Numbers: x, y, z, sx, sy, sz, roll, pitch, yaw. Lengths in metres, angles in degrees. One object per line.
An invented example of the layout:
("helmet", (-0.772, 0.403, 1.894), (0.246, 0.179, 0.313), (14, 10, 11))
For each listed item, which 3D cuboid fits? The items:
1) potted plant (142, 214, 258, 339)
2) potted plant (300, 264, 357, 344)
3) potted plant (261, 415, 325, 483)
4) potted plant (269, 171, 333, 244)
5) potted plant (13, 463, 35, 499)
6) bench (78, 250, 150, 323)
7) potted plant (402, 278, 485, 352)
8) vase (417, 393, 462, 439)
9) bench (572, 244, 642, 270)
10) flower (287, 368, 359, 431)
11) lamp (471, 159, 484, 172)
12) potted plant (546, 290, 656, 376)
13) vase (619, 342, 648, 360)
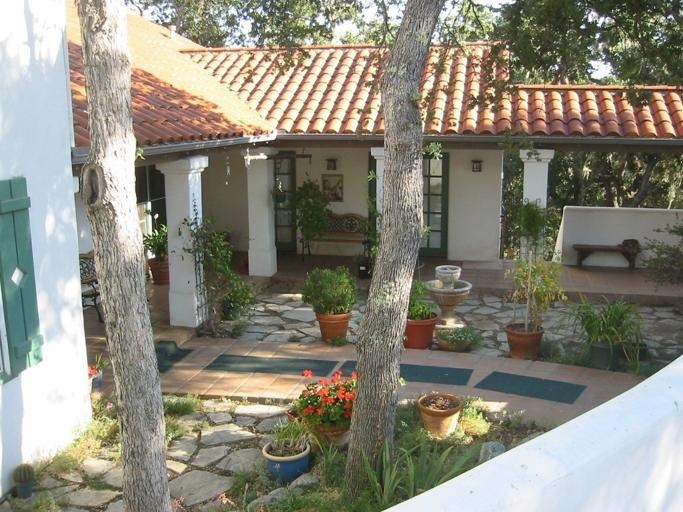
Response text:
("potted plant", (-2.096, 0.328, 9.545), (0.730, 2.056, 1.200), (0, 5, 23))
("potted plant", (-0.194, 0.823, 9.017), (0.835, 1.197, 0.345), (-2, 5, -4))
("potted plant", (-0.526, 1.948, 5.564), (0.458, 0.557, 0.494), (0, 4, -1))
("potted plant", (-0.914, -0.989, 13.596), (1.376, 1.681, 2.239), (-3, 5, -6))
("potted plant", (-3.024, 2.163, 5.248), (0.211, 0.324, 0.211), (-22, -23, 40))
("bench", (-4.364, 0.517, 10.352), (0.977, 1.221, 2.193), (-2, 4, -1))
("potted plant", (1.593, 0.981, 9.204), (1.423, 1.576, 1.019), (5, 13, 14))
("vase", (1.082, 1.769, 6.118), (0.481, 0.354, 0.498), (-2, 5, -2))
("bench", (5.930, 0.008, 12.429), (1.312, 0.578, 0.566), (0, 5, 25))
("flower", (-0.035, 1.469, 5.785), (0.543, 0.371, 0.498), (-2, 1, -11))
("lamp", (3.211, -2.146, 13.187), (0.244, 0.294, 0.255), (0, 5, 3))
("potted plant", (3.669, 1.159, 7.834), (1.057, 0.945, 1.078), (5, -5, 16))
("vase", (4.032, 1.332, 7.681), (0.336, 0.253, 0.340), (2, 5, 44))
